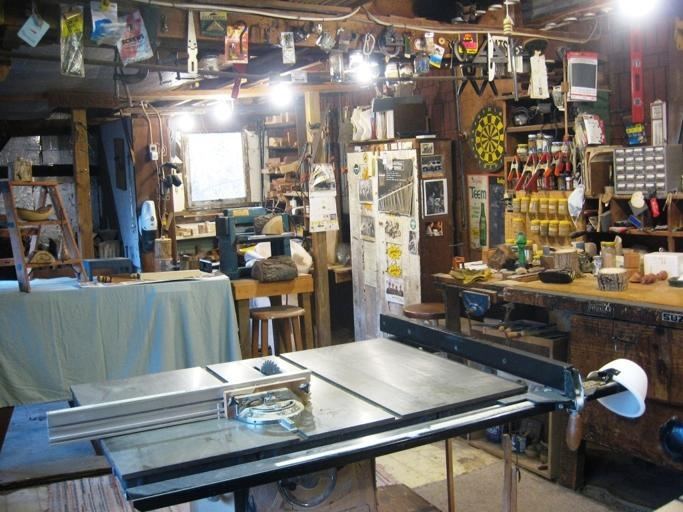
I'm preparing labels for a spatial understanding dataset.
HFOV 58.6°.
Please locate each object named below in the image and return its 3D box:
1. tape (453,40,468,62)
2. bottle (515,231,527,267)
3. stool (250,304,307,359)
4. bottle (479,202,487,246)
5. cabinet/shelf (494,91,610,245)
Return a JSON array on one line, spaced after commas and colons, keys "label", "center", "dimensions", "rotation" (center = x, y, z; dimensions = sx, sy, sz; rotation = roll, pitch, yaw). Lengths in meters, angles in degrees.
[{"label": "tape", "center": [1.057, -1.823, 5.422], "dimensions": [0.148, 0.188, 0.044], "rotation": [-6, 10, -6]}, {"label": "bottle", "center": [1.564, -0.068, 5.321], "dimensions": [0.091, 0.250, 0.313], "rotation": [-1, 11, 16]}, {"label": "stool", "center": [-0.669, 0.683, 5.982], "dimensions": [0.532, 0.579, 0.534], "rotation": [-2, 1, 41]}, {"label": "bottle", "center": [1.655, -0.366, 7.147], "dimensions": [0.035, 0.493, 0.139], "rotation": [-7, 11, -14]}, {"label": "cabinet/shelf", "center": [1.999, -0.751, 5.731], "dimensions": [0.914, 1.314, 1.170], "rotation": [-2, 11, 15]}]
